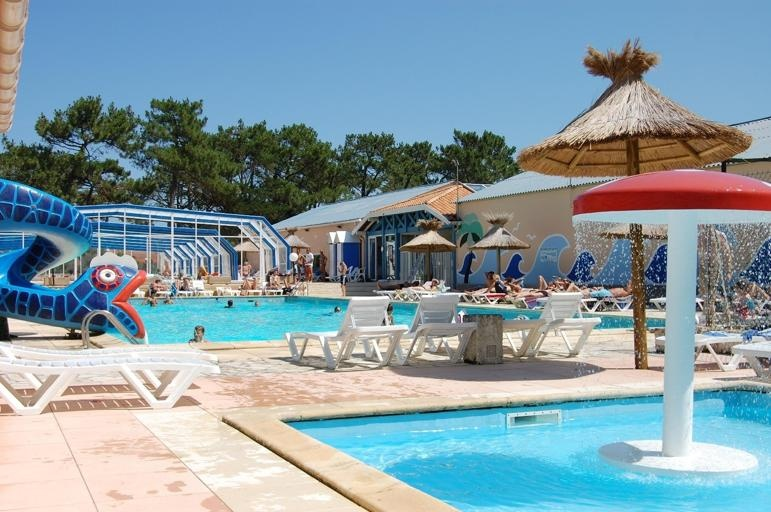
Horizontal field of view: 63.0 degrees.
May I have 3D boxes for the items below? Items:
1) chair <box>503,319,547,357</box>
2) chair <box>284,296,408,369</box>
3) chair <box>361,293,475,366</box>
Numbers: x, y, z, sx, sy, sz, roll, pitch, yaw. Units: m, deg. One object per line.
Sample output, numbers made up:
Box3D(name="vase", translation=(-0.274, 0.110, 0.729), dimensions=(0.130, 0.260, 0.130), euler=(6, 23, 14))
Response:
Box3D(name="chair", translation=(2.413, 1.378, 11.102), dimensions=(0.722, 0.476, 0.787), euler=(-2, -3, 25))
Box3D(name="chair", translation=(-0.702, 1.251, 10.481), dimensions=(1.057, 0.963, 1.954), euler=(1, -5, -32))
Box3D(name="chair", translation=(0.834, 1.169, 10.701), dimensions=(0.836, 0.881, 1.337), euler=(1, 0, -24))
